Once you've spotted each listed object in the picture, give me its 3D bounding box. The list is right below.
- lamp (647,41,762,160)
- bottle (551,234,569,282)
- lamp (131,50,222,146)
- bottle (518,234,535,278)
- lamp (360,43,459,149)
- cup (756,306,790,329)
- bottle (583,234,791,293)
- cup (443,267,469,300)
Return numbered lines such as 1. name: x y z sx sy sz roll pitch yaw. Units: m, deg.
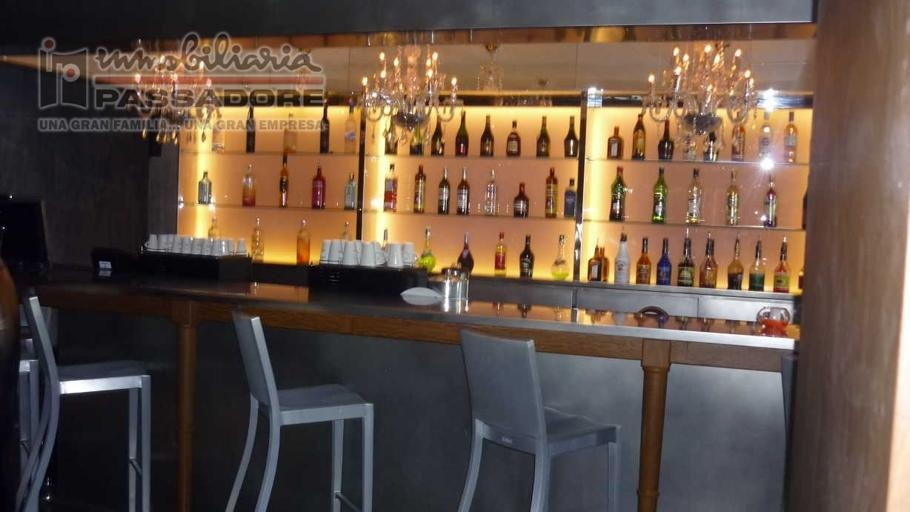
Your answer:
1. lamp: 1.708 -1.149 5.167 0.738 0.709 0.864 4 9 18
2. bottle: 0.843 0.005 5.861 0.128 0.320 0.108 2 9 7
3. lamp: -2.142 -1.153 5.605 0.477 0.664 0.246 8 48 -10
4. bottle: 0.579 -0.002 5.915 0.124 0.334 0.179 2 9 6
5. lamp: -0.353 -1.236 5.573 0.752 0.738 0.948 1 9 -1
6. cup: 1.753 0.328 4.017 0.116 0.084 0.119 0 4 0
7. bottle: 1.996 0.052 5.653 1.111 0.400 0.242 3 9 13
8. cup: -0.009 0.176 4.564 0.168 0.185 0.173 0 2 0
